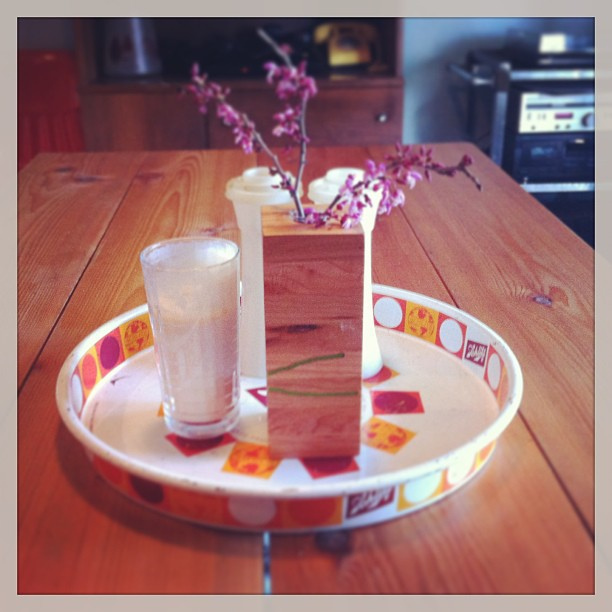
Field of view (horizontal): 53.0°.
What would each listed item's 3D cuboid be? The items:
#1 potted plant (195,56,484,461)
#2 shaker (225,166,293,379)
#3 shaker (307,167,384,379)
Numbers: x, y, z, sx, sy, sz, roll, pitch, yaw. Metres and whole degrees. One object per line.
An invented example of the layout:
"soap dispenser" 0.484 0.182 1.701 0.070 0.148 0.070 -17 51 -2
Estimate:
"potted plant" 0.015 -0.010 0.477 0.190 0.249 0.112 3 -3 -40
"shaker" -0.033 -0.023 0.552 0.061 0.187 0.073 2 31 1
"shaker" 0.061 0.020 0.567 0.031 0.089 0.033 24 37 19
